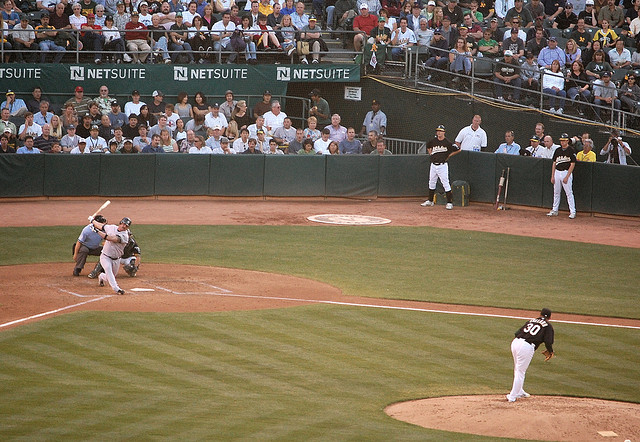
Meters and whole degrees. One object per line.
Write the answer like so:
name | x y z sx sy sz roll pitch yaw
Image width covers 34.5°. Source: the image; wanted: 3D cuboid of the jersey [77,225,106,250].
jersey | -5.776 0.435 26.046 0.642 0.431 0.312 14 5 -37

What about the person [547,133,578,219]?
person | 8.070 -1.464 34.159 0.865 2.793 0.967 2 7 12

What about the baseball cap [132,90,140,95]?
baseball cap | -6.485 -4.496 36.123 0.205 0.130 0.200 -10 15 -43

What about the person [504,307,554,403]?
person | 4.314 2.764 21.353 1.055 1.838 0.613 -1 7 -19

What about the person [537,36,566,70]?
person | 8.574 -6.112 38.146 1.171 1.202 1.088 -18 23 -42

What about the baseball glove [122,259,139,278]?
baseball glove | -4.823 1.206 26.201 0.324 0.280 0.470 5 -3 5

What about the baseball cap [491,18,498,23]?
baseball cap | 6.703 -7.706 39.513 0.341 0.139 0.478 3 -4 16

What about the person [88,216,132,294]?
person | -5.158 0.838 25.288 0.739 1.822 0.977 -3 8 -33

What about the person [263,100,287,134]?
person | -1.662 -3.723 37.050 0.862 1.097 0.779 3 7 21

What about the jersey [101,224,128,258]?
jersey | -5.024 0.484 25.084 0.770 0.684 0.428 21 4 -6

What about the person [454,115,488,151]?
person | 5.353 -3.090 36.469 1.065 1.206 0.881 1 6 6

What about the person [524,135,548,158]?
person | 7.469 -2.556 35.520 0.727 0.714 1.554 1 5 6

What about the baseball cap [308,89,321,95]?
baseball cap | -0.223 -4.750 38.086 0.429 0.192 0.277 8 16 -2

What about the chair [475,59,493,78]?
chair | 6.154 -5.722 38.671 0.765 0.762 0.696 0 2 1

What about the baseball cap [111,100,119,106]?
baseball cap | -7.125 -4.069 35.594 0.336 0.124 0.424 1 4 -6

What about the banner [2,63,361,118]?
banner | -5.344 -4.710 38.078 13.346 1.959 1.530 -2 17 -22

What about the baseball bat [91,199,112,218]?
baseball bat | -6.758 -0.364 31.697 1.065 0.122 0.120 -36 -6 31

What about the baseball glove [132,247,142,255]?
baseball glove | -4.656 0.759 26.007 0.106 0.202 0.245 4 7 26

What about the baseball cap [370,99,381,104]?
baseball cap | 2.104 -4.472 38.489 0.321 0.133 0.437 -1 -6 35

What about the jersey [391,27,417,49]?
jersey | 3.301 -7.073 39.638 0.881 0.293 0.733 7 48 10

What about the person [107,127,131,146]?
person | -6.833 -2.851 34.991 0.784 0.576 0.347 -4 12 -24

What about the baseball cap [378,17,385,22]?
baseball cap | 2.355 -7.700 39.420 0.262 0.147 0.371 2 -3 0

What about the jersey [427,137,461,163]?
jersey | 4.226 -2.395 35.177 1.110 0.721 0.471 10 16 29

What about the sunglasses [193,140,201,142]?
sunglasses | -4.267 -2.732 35.282 0.077 0.064 0.328 -4 7 -37

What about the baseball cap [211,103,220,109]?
baseball cap | -3.772 -4.143 36.999 0.379 0.136 0.485 0 7 -25

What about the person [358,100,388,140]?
person | 1.938 -3.755 38.104 0.920 1.335 0.932 2 6 6

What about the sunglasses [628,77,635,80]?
sunglasses | 11.101 -5.063 36.679 0.197 0.069 0.109 1 6 2

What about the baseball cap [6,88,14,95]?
baseball cap | -10.787 -4.490 35.679 0.391 0.168 0.537 -2 4 -12

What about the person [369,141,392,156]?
person | 2.184 -2.540 36.614 0.970 0.466 0.545 -1 0 9

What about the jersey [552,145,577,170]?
jersey | 8.052 -2.047 33.836 1.013 0.768 0.389 6 7 35

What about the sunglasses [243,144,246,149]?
sunglasses | -2.650 -2.593 36.009 0.068 0.151 0.110 -3 8 -33

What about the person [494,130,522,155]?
person | 6.725 -2.793 36.630 1.199 0.804 0.617 5 7 24

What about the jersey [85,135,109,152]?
jersey | -7.615 -2.568 34.918 0.571 0.574 0.215 -2 -17 -18

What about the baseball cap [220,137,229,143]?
baseball cap | -3.329 -2.783 35.506 0.262 0.169 0.324 0 6 -9
